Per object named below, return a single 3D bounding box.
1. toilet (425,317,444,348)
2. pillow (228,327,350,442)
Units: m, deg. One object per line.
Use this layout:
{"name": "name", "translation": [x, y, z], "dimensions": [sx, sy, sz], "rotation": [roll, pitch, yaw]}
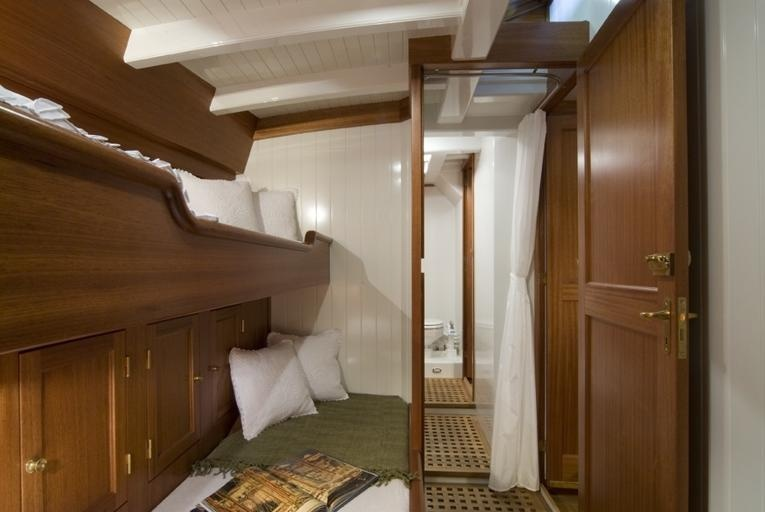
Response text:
{"name": "toilet", "translation": [0.506, 0.772, 5.287], "dimensions": [0.177, 0.452, 0.276], "rotation": [-1, 83, 2]}
{"name": "pillow", "translation": [-0.599, 0.760, 3.103], "dimensions": [0.213, 0.712, 0.445], "rotation": [-29, 79, 25]}
